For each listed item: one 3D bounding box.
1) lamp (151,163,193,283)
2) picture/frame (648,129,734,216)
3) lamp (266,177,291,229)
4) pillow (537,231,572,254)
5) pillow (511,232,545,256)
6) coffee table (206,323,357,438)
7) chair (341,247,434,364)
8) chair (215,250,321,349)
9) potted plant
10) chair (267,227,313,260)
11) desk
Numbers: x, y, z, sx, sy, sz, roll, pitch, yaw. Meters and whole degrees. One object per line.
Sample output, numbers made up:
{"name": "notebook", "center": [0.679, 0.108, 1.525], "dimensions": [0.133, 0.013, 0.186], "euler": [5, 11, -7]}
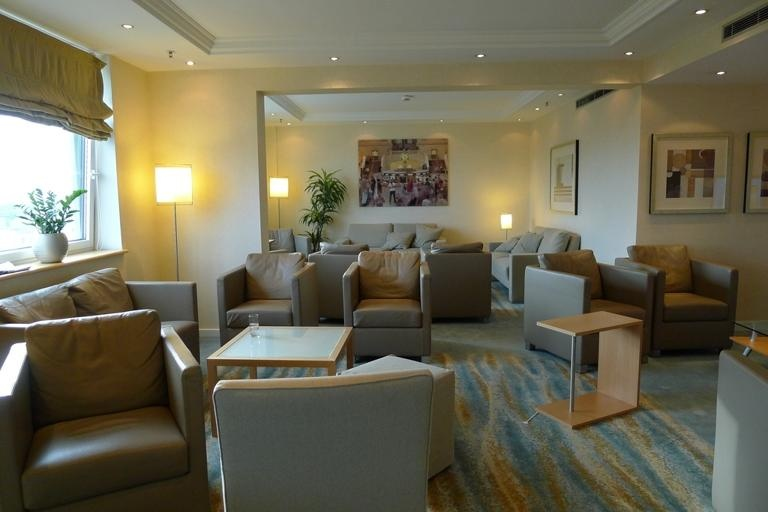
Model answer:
{"name": "lamp", "center": [-2.380, -0.377, 6.253], "dimensions": [0.414, 1.343, 0.423], "euler": [-3, 8, -23]}
{"name": "picture/frame", "center": [3.542, -1.025, 6.334], "dimensions": [0.988, 0.959, 0.041], "euler": [-1, 6, -2]}
{"name": "lamp", "center": [-2.046, -0.949, 10.606], "dimensions": [0.367, 1.598, 0.264], "euler": [-2, 50, -12]}
{"name": "pillow", "center": [2.460, -0.196, 7.848], "dimensions": [0.152, 0.287, 0.396], "euler": [10, 0, -8]}
{"name": "pillow", "center": [2.275, -0.201, 8.611], "dimensions": [0.123, 0.383, 0.408], "euler": [26, -7, -14]}
{"name": "coffee table", "center": [-0.819, 0.825, 4.390], "dimensions": [0.978, 0.591, 0.980], "euler": [0, 1, 4]}
{"name": "chair", "center": [0.015, 0.516, 5.789], "dimensions": [0.865, 1.079, 0.862], "euler": [0, 7, -3]}
{"name": "chair", "center": [-1.273, 0.435, 5.936], "dimensions": [0.958, 1.050, 1.018], "euler": [0, -1, -2]}
{"name": "potted plant", "center": [-3.095, -0.329, 5.202], "dimensions": [0.613, 0.666, 0.632], "euler": [0, 3, -26]}
{"name": "chair", "center": [-1.677, -0.264, 9.693], "dimensions": [0.729, 0.774, 0.737], "euler": [-1, 2, -22]}
{"name": "desk", "center": [1.611, 0.933, 4.716], "dimensions": [1.164, 1.093, 0.658], "euler": [-3, 6, -30]}
